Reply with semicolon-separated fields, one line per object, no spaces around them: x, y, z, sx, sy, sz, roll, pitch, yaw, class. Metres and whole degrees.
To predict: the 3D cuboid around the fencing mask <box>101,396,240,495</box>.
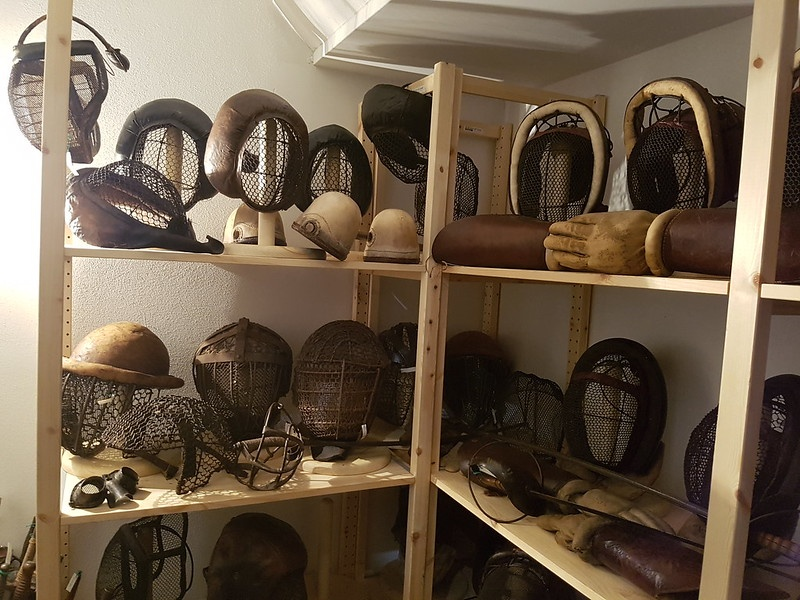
-0.552;0.335;1.575;0.266;0.208;0.205;-5;10;-37;fencing mask

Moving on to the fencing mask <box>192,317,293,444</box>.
-0.395;0.226;1.741;0.233;0.320;0.312;0;-8;-7;fencing mask

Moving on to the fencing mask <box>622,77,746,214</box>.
0.612;-0.321;1.432;0.287;0.337;0.244;-8;12;-36;fencing mask

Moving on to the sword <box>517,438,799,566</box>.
0.533;0.355;1.448;0.669;0.044;0.214;18;10;25;sword

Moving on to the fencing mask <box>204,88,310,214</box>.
-0.327;-0.350;1.610;0.205;0.305;0.275;14;22;-19;fencing mask

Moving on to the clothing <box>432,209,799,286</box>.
0.392;-0.122;1.398;0.832;0.145;0.084;4;5;44;clothing

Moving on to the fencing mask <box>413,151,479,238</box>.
0.129;-0.337;1.976;0.223;0.276;0.175;2;6;0;fencing mask

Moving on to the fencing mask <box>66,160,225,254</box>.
-0.592;-0.198;1.484;0.285;0.123;0.233;26;34;-13;fencing mask

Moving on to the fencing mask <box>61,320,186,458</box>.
-0.702;0.222;1.714;0.278;0.341;0.278;-1;-3;11;fencing mask

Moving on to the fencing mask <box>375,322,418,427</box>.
-0.006;0.220;1.907;0.172;0.273;0.245;1;-3;-1;fencing mask

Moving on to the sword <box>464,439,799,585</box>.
0.443;0.384;1.578;0.253;0.089;0.942;-6;16;-36;sword

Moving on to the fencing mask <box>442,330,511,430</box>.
0.197;0.235;1.967;0.188;0.274;0.252;3;-7;-7;fencing mask

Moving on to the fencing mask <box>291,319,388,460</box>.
-0.178;0.240;1.939;0.276;0.495;0.342;2;-1;-9;fencing mask

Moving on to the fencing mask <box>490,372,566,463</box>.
0.360;0.335;1.816;0.197;0.242;0.168;1;-4;11;fencing mask
